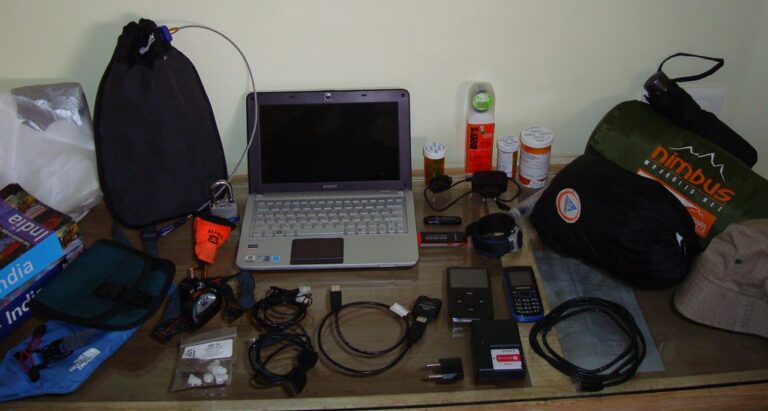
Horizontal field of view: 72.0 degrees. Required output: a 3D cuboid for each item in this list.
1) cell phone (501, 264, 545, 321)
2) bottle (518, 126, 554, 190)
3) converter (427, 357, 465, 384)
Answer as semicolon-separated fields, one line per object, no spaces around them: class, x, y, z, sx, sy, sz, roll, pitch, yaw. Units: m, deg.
cell phone;0.442;0.273;1.687;0.107;0.029;0.174;-3;58;-12
bottle;0.552;-0.180;1.957;0.122;0.228;0.148;4;5;18
converter;0.180;0.470;1.535;0.090;0.021;0.059;-7;45;4
